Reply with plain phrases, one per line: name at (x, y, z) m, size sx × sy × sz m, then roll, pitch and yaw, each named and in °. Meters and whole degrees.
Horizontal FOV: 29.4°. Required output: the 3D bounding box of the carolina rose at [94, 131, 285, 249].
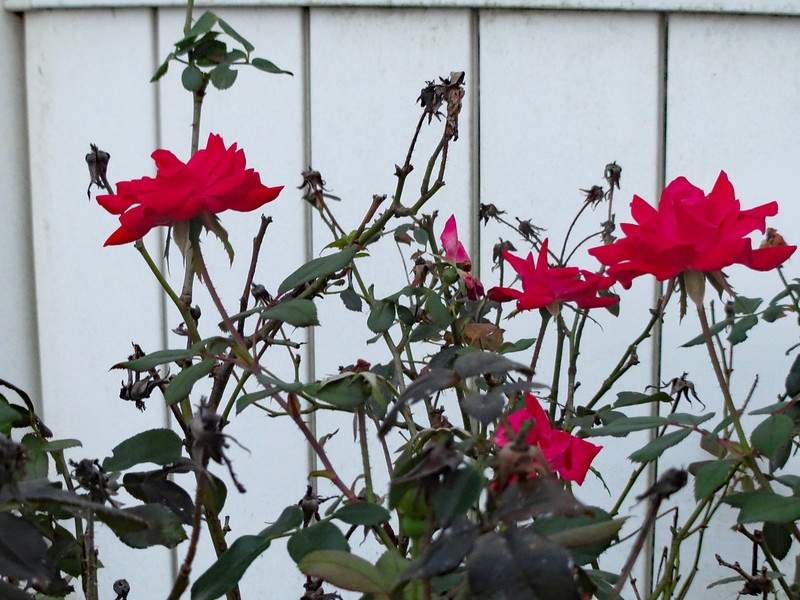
carolina rose at (-0.409, -0.212, 2.999) m, size 0.236 × 0.279 × 0.101 m, roll -13°, pitch -49°, yaw 32°

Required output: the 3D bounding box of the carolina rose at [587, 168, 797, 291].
carolina rose at (0.558, -0.197, 2.973) m, size 0.255 × 0.268 × 0.135 m, roll 13°, pitch -59°, yaw 35°

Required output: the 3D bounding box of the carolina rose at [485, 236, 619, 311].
carolina rose at (0.320, -0.026, 3.102) m, size 0.163 × 0.087 × 0.161 m, roll 10°, pitch -5°, yaw -14°
